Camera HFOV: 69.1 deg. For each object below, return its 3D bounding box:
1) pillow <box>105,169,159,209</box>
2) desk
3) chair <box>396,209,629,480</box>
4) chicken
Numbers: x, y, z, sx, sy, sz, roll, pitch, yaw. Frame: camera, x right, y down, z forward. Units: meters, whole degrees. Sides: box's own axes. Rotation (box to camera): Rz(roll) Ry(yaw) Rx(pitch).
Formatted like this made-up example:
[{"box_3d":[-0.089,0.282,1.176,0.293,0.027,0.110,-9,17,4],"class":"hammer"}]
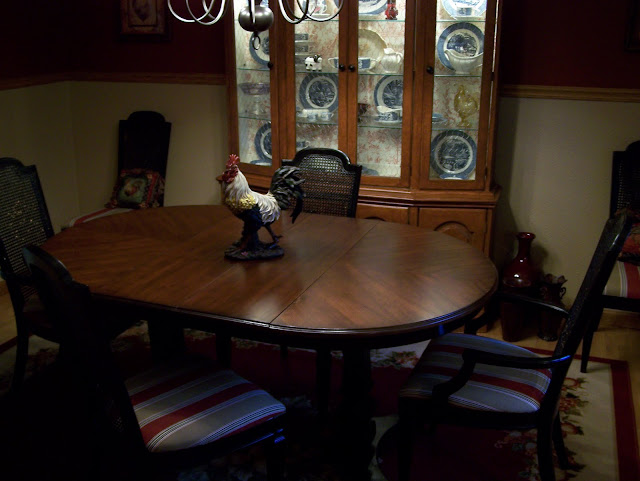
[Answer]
[{"box_3d":[-1.406,-0.391,3.474,0.333,0.377,0.106,8,-13,5],"class":"pillow"},{"box_3d":[-0.052,0.686,2.194,1.785,0.976,1.010,10,31,20],"class":"desk"},{"box_3d":[0.704,0.316,2.299,0.985,1.643,0.898,6,18,22],"class":"chair"},{"box_3d":[-0.234,-0.146,1.919,0.333,0.398,0.190,0,18,-10],"class":"chicken"}]
